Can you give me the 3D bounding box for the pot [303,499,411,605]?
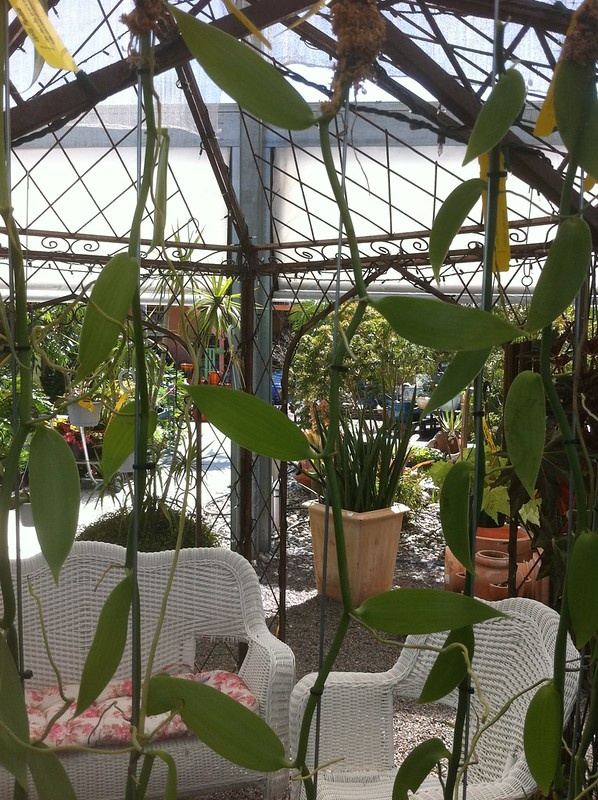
[{"bbox_3d":[0.238,0.591,3.206,0.331,0.387,0.365,7,8,29],"label":"pot"}]
